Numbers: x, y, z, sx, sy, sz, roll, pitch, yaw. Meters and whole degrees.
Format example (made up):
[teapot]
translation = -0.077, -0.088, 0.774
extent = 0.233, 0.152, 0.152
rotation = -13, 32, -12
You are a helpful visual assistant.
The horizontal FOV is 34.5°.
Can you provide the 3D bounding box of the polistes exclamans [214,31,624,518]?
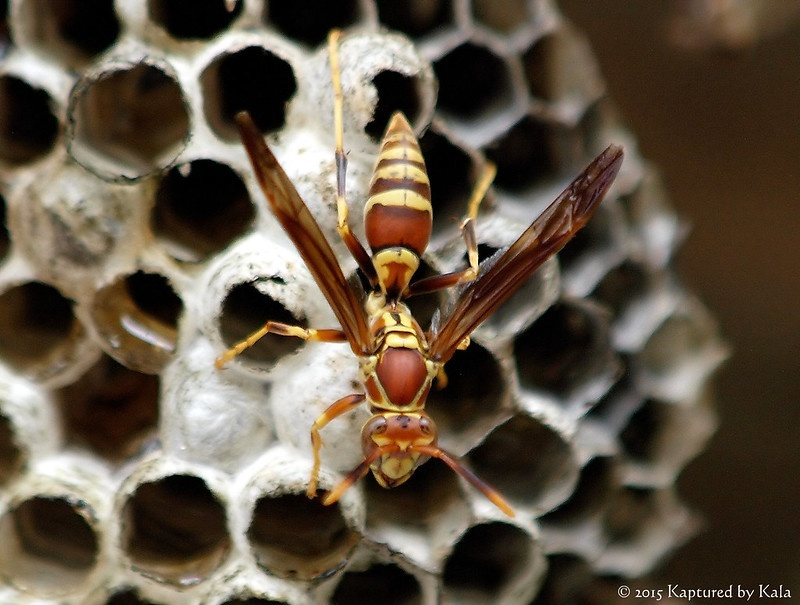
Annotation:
[polistes exclamans]
translation = 0.037, -0.066, 2.567
extent = 0.807, 0.943, 0.324
rotation = -2, 7, -10
